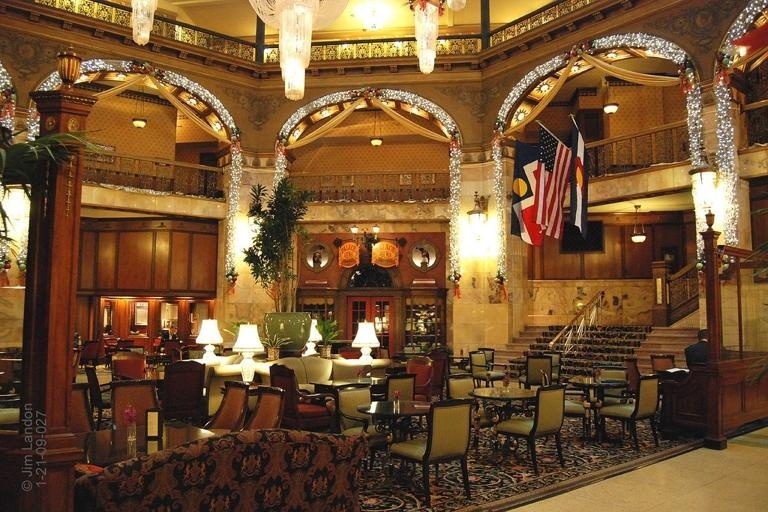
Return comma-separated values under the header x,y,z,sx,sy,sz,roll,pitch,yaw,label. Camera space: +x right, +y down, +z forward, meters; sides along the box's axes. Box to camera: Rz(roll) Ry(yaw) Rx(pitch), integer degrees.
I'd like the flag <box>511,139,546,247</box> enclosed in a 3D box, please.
x,y,z,sx,sy,sz,roll,pitch,yaw,label
2.671,-1.206,11.907,0.644,2.011,0.315,-2,-8,4,flag

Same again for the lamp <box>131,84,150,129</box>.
x,y,z,sx,sy,sz,roll,pitch,yaw,label
-7.690,-4.568,20.015,0.499,1.290,1.097,2,-9,-22,lamp

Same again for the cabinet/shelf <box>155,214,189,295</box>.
x,y,z,sx,sy,sz,roll,pitch,yaw,label
-6.305,0.104,18.786,0.952,1.923,0.608,2,-5,-16,cabinet/shelf

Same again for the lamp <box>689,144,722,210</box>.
x,y,z,sx,sy,sz,roll,pitch,yaw,label
6.974,-1.665,13.884,0.382,1.513,0.566,1,-9,-19,lamp

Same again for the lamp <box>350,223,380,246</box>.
x,y,z,sx,sy,sz,roll,pitch,yaw,label
-0.561,-0.623,19.204,0.876,0.726,0.677,-1,-8,-3,lamp

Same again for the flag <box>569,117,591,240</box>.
x,y,z,sx,sy,sz,roll,pitch,yaw,label
3.840,-1.590,12.550,0.334,2.591,1.701,-4,-9,18,flag
